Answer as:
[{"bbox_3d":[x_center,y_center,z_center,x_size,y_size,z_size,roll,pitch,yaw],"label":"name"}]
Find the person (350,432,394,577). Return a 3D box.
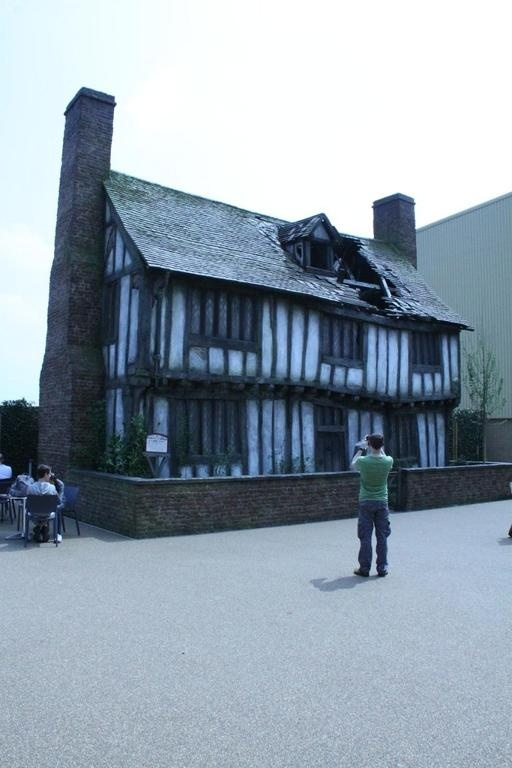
[{"bbox_3d":[1.441,1.428,6.757,0.447,1.616,1.289,-2,-7,13],"label":"person"}]

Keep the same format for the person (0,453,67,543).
[{"bbox_3d":[-3.835,1.979,9.562,1.115,2.018,1.258,2,16,-21],"label":"person"}]

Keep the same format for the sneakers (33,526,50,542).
[{"bbox_3d":[-3.277,2.259,8.390,0.126,0.162,0.399,1,-2,-2],"label":"sneakers"}]

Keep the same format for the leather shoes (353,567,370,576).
[{"bbox_3d":[1.206,2.133,6.289,0.162,0.084,0.138,-1,-7,10],"label":"leather shoes"}]
